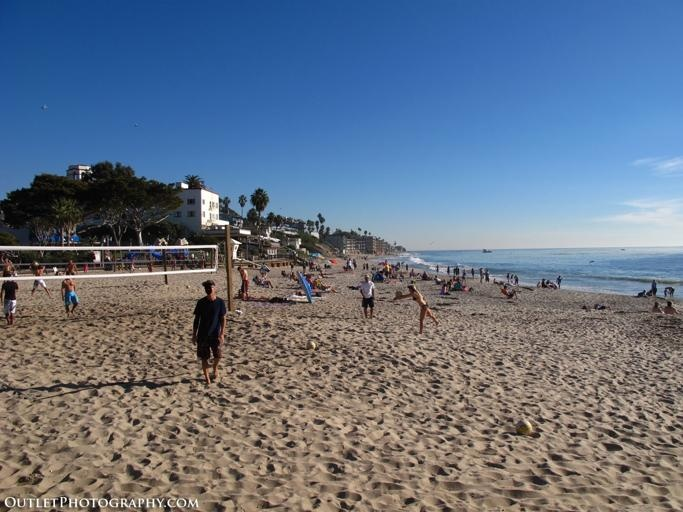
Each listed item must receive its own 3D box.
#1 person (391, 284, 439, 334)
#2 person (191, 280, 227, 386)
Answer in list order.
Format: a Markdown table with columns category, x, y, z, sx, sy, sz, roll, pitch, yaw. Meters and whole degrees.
| category | x | y | z | sx | sy | sz | roll | pitch | yaw |
| --- | --- | --- | --- | --- | --- | --- | --- | --- | --- |
| person | 1.991 | 1.444 | 14.753 | 1.279 | 1.288 | 0.834 | -8 | 9 | -11 |
| person | -2.549 | 1.481 | 10.564 | 0.573 | 1.974 | 0.835 | 3 | 6 | -12 |
